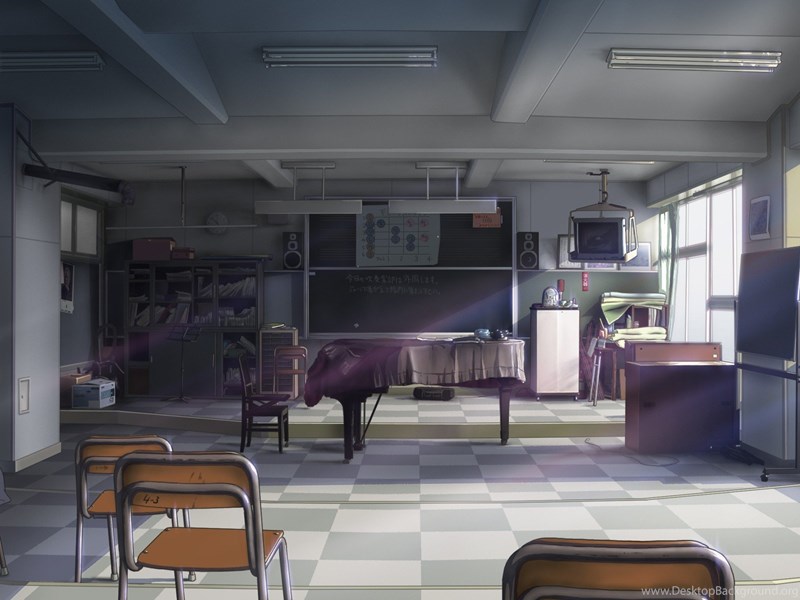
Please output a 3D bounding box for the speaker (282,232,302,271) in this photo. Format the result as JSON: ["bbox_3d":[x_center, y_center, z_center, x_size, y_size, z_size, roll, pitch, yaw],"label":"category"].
[{"bbox_3d":[-1.672,-0.758,9.888,0.418,0.556,0.409,-1,1,16],"label":"speaker"}]

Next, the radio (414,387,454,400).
[{"bbox_3d":[0.476,1.337,9.340,0.575,0.180,0.253,-1,0,2],"label":"radio"}]

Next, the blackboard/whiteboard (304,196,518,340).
[{"bbox_3d":[0.133,-0.436,9.810,3.478,1.893,0.111,1,3,23],"label":"blackboard/whiteboard"}]
